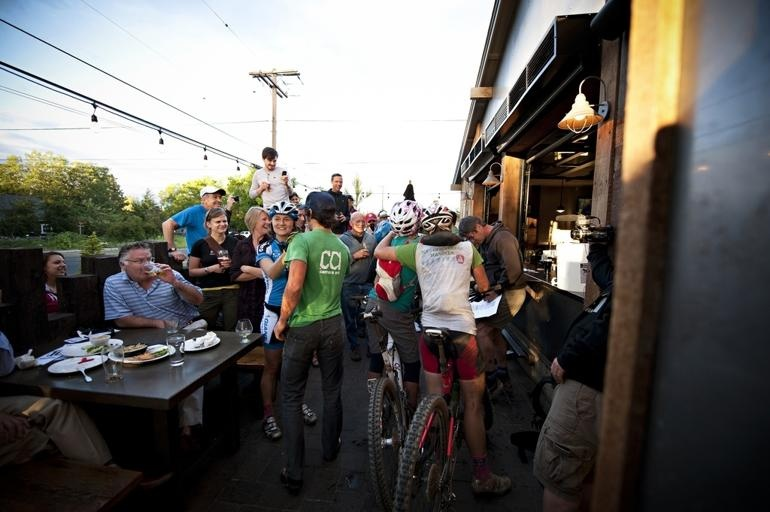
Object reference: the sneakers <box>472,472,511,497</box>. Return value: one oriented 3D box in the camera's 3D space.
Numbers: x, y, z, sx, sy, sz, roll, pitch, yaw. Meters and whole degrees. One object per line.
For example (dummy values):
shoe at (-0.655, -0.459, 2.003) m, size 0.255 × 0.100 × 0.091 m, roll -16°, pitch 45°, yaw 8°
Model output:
sneakers at (0.848, 1.784, 3.757) m, size 0.329 × 0.154 × 0.163 m, roll -4°, pitch 8°, yaw -10°

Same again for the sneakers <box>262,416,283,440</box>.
sneakers at (-1.054, 1.634, 4.440) m, size 0.104 × 0.120 × 0.257 m, roll 2°, pitch -6°, yaw -29°

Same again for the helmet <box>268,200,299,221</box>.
helmet at (-0.918, -0.427, 4.531) m, size 0.170 × 0.090 × 0.245 m, roll 6°, pitch 20°, yaw 9°

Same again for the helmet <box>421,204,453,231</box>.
helmet at (0.419, -0.302, 3.801) m, size 0.197 × 0.226 × 0.242 m, roll 0°, pitch 15°, yaw 11°

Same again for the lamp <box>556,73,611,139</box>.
lamp at (1.737, -1.341, 4.107) m, size 0.400 × 0.496 × 0.316 m, roll 2°, pitch -4°, yaw 0°

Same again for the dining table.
dining table at (-1.703, 1.002, 3.729) m, size 1.127 × 0.710 × 1.153 m, roll 2°, pitch 5°, yaw 8°

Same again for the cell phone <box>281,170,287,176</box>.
cell phone at (-1.574, -1.303, 7.395) m, size 0.099 × 0.132 × 0.014 m, roll 1°, pitch 11°, yaw 3°

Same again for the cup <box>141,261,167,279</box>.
cup at (-2.135, 0.135, 4.356) m, size 0.147 × 0.092 × 0.095 m, roll 15°, pitch -21°, yaw 32°

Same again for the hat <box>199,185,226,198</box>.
hat at (-2.253, -0.820, 6.083) m, size 0.286 × 0.124 × 0.192 m, roll -3°, pitch 1°, yaw 45°

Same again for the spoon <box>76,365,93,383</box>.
spoon at (-2.152, 0.859, 3.387) m, size 0.063 × 0.049 × 0.342 m, roll -3°, pitch 19°, yaw -41°

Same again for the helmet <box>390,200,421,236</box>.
helmet at (0.211, -0.341, 4.078) m, size 0.227 × 0.268 × 0.297 m, roll 6°, pitch 44°, yaw 12°
